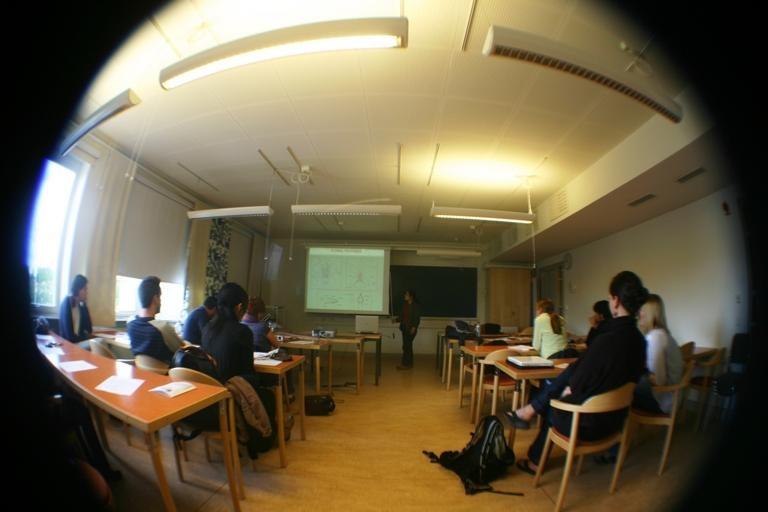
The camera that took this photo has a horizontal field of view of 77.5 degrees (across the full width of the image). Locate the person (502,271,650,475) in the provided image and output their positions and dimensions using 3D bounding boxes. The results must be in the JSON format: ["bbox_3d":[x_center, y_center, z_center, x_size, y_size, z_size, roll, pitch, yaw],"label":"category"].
[{"bbox_3d":[1.582,0.964,3.848,0.952,1.648,0.426,-3,-7,29],"label":"person"}]

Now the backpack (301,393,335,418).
[{"bbox_3d":[-0.697,1.624,5.246,0.320,0.185,0.269,1,-7,-5],"label":"backpack"}]

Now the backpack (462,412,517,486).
[{"bbox_3d":[0.901,1.664,4.103,0.219,0.377,0.336,41,-45,-20],"label":"backpack"}]

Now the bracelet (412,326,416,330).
[{"bbox_3d":[0.500,1.190,7.952,0.044,0.053,0.043,0,-3,-32],"label":"bracelet"}]

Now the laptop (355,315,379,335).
[{"bbox_3d":[-0.243,0.989,6.999,0.341,0.250,0.243,3,-3,2],"label":"laptop"}]

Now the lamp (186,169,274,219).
[{"bbox_3d":[-2.016,-0.705,6.307,1.262,0.178,0.219,-4,30,18],"label":"lamp"}]

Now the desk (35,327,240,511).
[{"bbox_3d":[-1.932,1.346,3.725,1.631,1.125,0.884,-3,-7,31],"label":"desk"}]

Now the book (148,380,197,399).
[{"bbox_3d":[-1.530,0.970,3.507,0.232,0.081,0.258,-4,-9,37],"label":"book"}]

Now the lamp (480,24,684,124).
[{"bbox_3d":[1.637,-1.489,3.879,1.786,0.424,0.274,3,-7,-20],"label":"lamp"}]

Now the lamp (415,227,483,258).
[{"bbox_3d":[1.335,-0.136,9.630,1.158,0.281,0.862,0,-7,7],"label":"lamp"}]

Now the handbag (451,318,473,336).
[{"bbox_3d":[1.202,1.104,7.475,0.365,0.160,0.651,7,-4,8],"label":"handbag"}]

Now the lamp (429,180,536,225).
[{"bbox_3d":[1.513,-0.632,6.953,1.260,0.413,1.930,-2,-7,19],"label":"lamp"}]

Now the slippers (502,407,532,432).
[{"bbox_3d":[1.124,1.413,4.166,0.126,0.131,0.324,5,-5,-16],"label":"slippers"}]

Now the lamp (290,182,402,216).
[{"bbox_3d":[-0.469,-0.689,6.762,1.368,0.398,1.391,1,-7,2],"label":"lamp"}]
